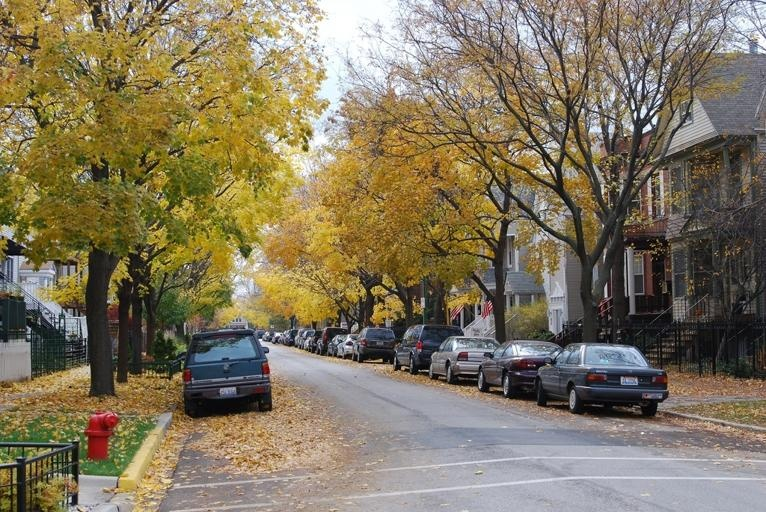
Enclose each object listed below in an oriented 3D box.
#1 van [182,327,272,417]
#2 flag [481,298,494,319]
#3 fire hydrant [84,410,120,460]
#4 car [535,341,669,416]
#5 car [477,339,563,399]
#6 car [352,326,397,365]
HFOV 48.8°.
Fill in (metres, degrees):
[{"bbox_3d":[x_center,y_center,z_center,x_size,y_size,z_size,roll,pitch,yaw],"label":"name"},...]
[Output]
[{"bbox_3d":[-4.621,3.109,24.759,1.728,1.499,2.940,-1,0,-10],"label":"van"},{"bbox_3d":[6.595,3.360,53.906,0.166,1.358,1.536,28,-8,20],"label":"flag"},{"bbox_3d":[-5.579,3.558,16.654,0.549,0.934,1.042,3,-9,-20],"label":"fire hydrant"},{"bbox_3d":[5.971,3.390,23.346,3.467,1.927,1.798,-4,-9,28],"label":"car"},{"bbox_3d":[4.252,3.640,27.855,1.308,1.034,3.049,0,-3,-8],"label":"car"},{"bbox_3d":[-0.557,5.225,48.448,1.970,1.887,4.414,1,-4,-5],"label":"car"}]
